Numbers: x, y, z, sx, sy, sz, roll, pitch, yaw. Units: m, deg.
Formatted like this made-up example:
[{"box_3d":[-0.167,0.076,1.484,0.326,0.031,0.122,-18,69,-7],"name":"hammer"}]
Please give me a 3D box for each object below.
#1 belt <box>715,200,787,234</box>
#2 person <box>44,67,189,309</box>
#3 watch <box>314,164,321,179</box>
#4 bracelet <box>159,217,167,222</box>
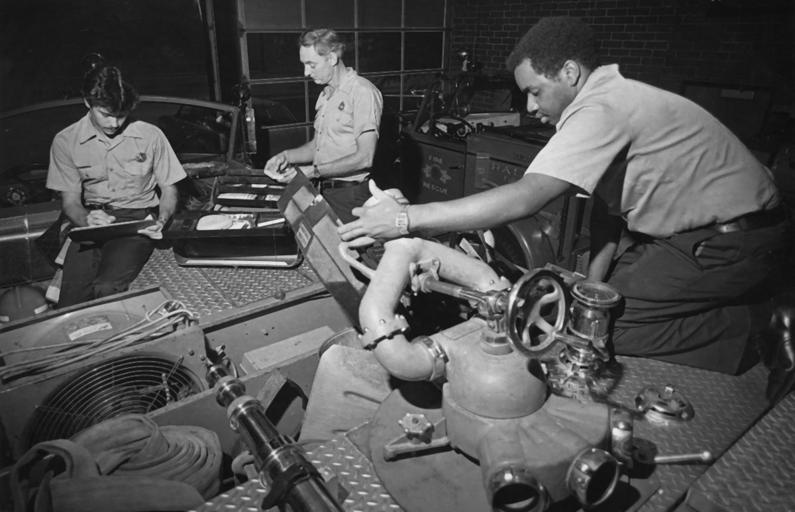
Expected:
[{"box_3d":[1.959,-0.189,3.034,0.241,0.062,0.227,-28,12,-41],"name":"belt"},{"box_3d":[-2.304,-0.494,4.416,0.958,1.678,0.795,-20,41,-40],"name":"person"},{"box_3d":[-0.709,-0.741,4.917,0.057,0.092,0.093,-16,35,-14],"name":"watch"},{"box_3d":[-1.845,-0.289,4.371,0.063,0.046,0.063,-3,7,-12],"name":"bracelet"}]
